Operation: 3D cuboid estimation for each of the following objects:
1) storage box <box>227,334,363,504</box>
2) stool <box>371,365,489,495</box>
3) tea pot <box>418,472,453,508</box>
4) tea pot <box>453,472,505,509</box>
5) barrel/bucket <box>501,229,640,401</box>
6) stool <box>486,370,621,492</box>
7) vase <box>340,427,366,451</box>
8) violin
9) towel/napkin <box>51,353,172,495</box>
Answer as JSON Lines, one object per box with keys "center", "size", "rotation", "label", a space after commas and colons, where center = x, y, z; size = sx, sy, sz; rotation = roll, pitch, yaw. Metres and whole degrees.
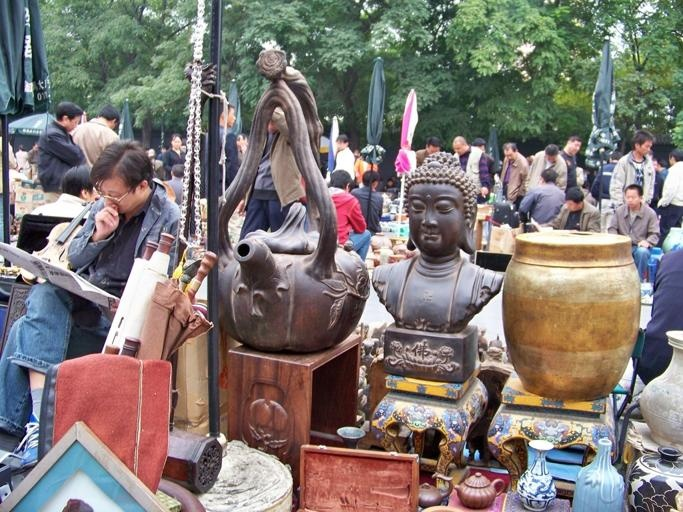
{"center": [-0.241, 0.692, 3.509], "size": [0.552, 0.849, 0.746], "rotation": [7, 15, 24], "label": "storage box"}
{"center": [0.473, 0.784, 3.468], "size": [0.558, 0.777, 0.546], "rotation": [5, 2, 21], "label": "stool"}
{"center": [0.452, 1.138, 3.146], "size": [0.151, 0.154, 0.125], "rotation": [-2, -5, -5], "label": "tea pot"}
{"center": [0.649, 1.066, 2.966], "size": [0.245, 0.148, 0.124], "rotation": [0, 9, -19], "label": "tea pot"}
{"center": [1.191, 0.204, 3.368], "size": [0.698, 0.883, 0.583], "rotation": [5, 6, 23], "label": "barrel/bucket"}
{"center": [1.084, 0.771, 3.354], "size": [0.508, 0.574, 0.528], "rotation": [4, 7, 21], "label": "stool"}
{"center": [0.057, 0.931, 3.319], "size": [0.115, 0.106, 0.125], "rotation": [-7, 17, -24], "label": "vase"}
{"center": [-1.637, -0.143, 3.816], "size": [0.321, 0.363, 0.334], "rotation": [5, 9, 15], "label": "violin"}
{"center": [-0.848, 0.574, 2.422], "size": [0.437, 0.507, 0.152], "rotation": [10, -8, -28], "label": "towel/napkin"}
